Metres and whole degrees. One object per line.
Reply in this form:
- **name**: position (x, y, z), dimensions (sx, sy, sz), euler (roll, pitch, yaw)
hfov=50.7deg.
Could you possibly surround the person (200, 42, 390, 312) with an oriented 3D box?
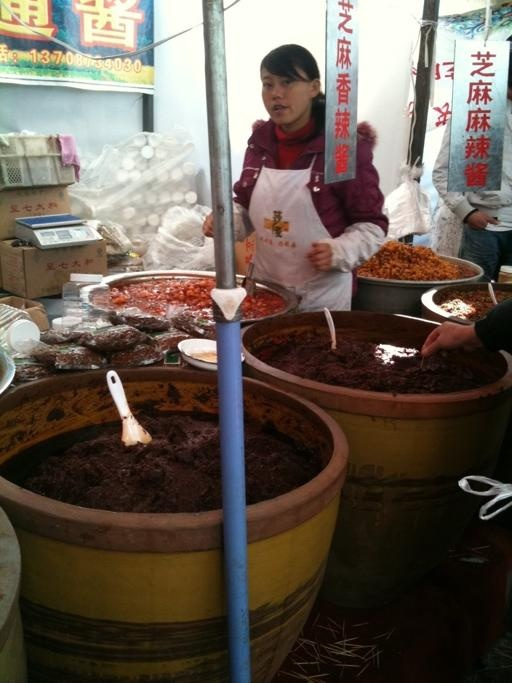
- **person**: position (0.227, -0.570, 2.646), dimensions (0.672, 1.485, 0.632), euler (2, 13, 7)

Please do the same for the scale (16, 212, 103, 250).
- **scale**: position (-1.569, -0.871, 4.226), dimensions (0.418, 0.127, 0.453), euler (23, 26, 39)
